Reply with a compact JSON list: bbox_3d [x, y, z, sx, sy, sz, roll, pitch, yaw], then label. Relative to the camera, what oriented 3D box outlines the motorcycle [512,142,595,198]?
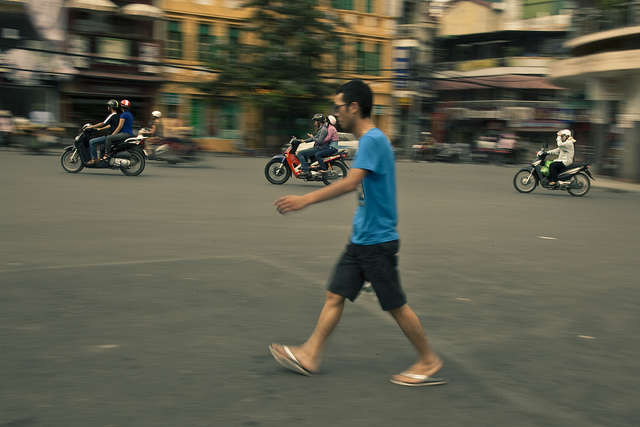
[{"bbox_3d":[6.365,-1.139,24.119,2.282,1.013,0.945,6,5,38],"label":"motorcycle"}]

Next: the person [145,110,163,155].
[{"bbox_3d":[-5.115,-2.472,27.551,0.527,1.310,0.561,1,13,-9],"label":"person"}]

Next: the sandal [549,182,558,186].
[{"bbox_3d":[6.234,-0.788,23.936,0.192,0.090,0.030,2,13,4],"label":"sandal"}]

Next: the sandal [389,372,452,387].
[{"bbox_3d":[1.331,2.161,11.657,0.820,0.124,0.227,3,-9,-8],"label":"sandal"}]

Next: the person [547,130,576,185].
[{"bbox_3d":[6.403,-1.514,23.967,0.670,1.450,0.532,5,13,9],"label":"person"}]

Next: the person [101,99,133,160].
[{"bbox_3d":[-5.138,-2.140,22.928,0.465,1.515,0.789,13,16,36],"label":"person"}]

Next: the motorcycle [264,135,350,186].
[{"bbox_3d":[-0.270,-1.325,23.095,2.656,1.099,0.946,7,0,41],"label":"motorcycle"}]

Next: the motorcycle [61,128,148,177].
[{"bbox_3d":[-5.634,-1.663,23.386,2.767,1.018,1.108,4,8,22],"label":"motorcycle"}]
